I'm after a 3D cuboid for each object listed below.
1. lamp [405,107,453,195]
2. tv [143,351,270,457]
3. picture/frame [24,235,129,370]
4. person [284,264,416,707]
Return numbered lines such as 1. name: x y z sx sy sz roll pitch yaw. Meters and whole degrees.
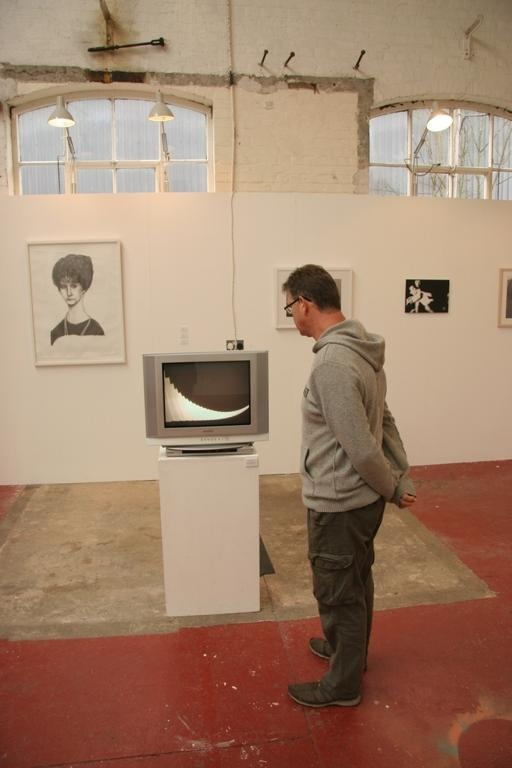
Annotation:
1. lamp: 1.867 -2.517 7.060 0.593 0.922 0.167 -2 10 -11
2. tv: -0.209 0.069 3.201 0.796 0.653 0.427 0 -1 -7
3. picture/frame: -1.426 -0.677 5.046 1.016 1.331 0.058 -2 6 -8
4. person: 0.328 0.391 2.341 0.393 1.618 0.431 -7 11 -34
